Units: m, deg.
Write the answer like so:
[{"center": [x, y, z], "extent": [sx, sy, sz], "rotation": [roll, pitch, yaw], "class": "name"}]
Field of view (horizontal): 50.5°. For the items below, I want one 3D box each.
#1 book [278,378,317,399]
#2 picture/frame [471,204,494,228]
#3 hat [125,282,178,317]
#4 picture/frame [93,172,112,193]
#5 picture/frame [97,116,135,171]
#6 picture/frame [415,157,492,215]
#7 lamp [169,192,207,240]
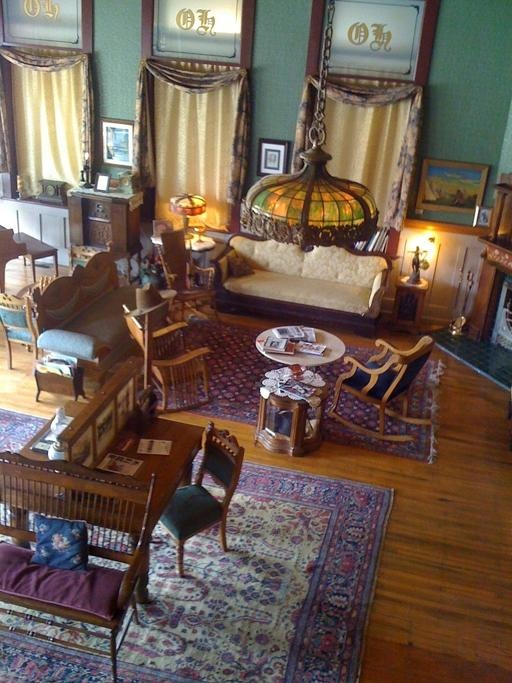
[{"center": [0.365, 0.435, 4.878], "extent": [0.344, 0.048, 0.308], "rotation": [8, 21, 9], "class": "book"}, {"center": [3.052, -1.665, 7.329], "extent": [0.243, 0.280, 0.140], "rotation": [18, 26, 28], "class": "picture/frame"}, {"center": [-0.985, -0.383, 5.175], "extent": [0.406, 0.180, 0.466], "rotation": [-6, 21, 15], "class": "hat"}, {"center": [-2.317, -2.360, 8.099], "extent": [0.292, 0.244, 0.165], "rotation": [8, 23, 8], "class": "picture/frame"}, {"center": [-2.159, -3.081, 8.381], "extent": [0.866, 0.899, 0.064], "rotation": [10, 28, 9], "class": "picture/frame"}, {"center": [2.699, -2.122, 7.323], "extent": [0.905, 0.691, 0.066], "rotation": [6, 34, 8], "class": "picture/frame"}, {"center": [-1.028, -1.830, 7.978], "extent": [0.603, 0.573, 0.589], "rotation": [-16, 36, -39], "class": "lamp"}]
